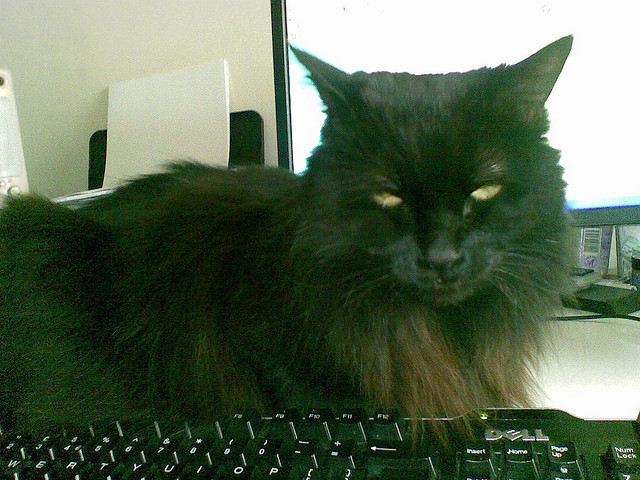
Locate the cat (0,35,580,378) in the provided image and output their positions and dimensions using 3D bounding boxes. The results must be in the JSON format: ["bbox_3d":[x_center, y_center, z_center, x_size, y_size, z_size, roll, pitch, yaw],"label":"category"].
[{"bbox_3d":[-0.112,-0.035,1.109,1.084,0.586,0.475,-2,-3,29],"label":"cat"}]
